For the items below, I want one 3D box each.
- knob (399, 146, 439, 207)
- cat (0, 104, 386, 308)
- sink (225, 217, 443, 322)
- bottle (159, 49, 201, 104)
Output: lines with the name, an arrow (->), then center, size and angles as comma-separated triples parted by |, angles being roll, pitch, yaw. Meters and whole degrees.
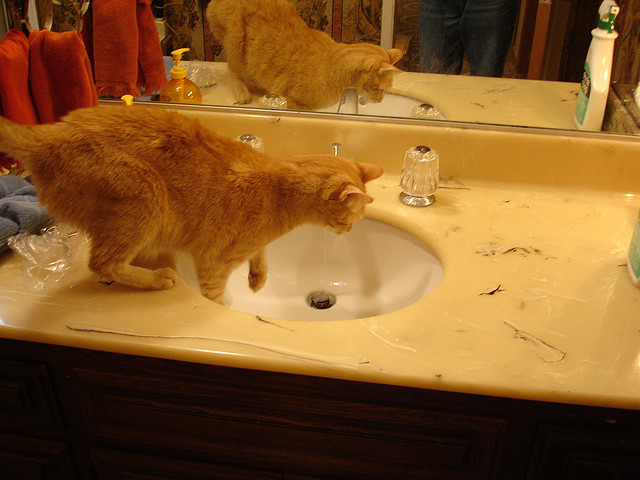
knob -> 0.218, -0.145, 1.161 | 0.088, 0.128, 0.057 | 11, 25, 20
cat -> -0.248, -0.062, 0.987 | 0.695, 0.285, 0.172 | 16, 36, -22
sink -> 0.040, 0.067, 1.123 | 0.306, 0.084, 0.235 | -7, 28, -15
bottle -> -0.346, -0.383, 1.275 | 0.104, 0.149, 0.099 | 1, 33, -1
